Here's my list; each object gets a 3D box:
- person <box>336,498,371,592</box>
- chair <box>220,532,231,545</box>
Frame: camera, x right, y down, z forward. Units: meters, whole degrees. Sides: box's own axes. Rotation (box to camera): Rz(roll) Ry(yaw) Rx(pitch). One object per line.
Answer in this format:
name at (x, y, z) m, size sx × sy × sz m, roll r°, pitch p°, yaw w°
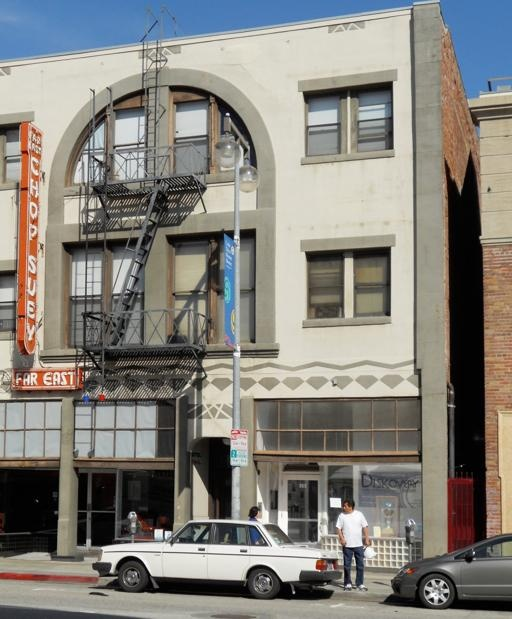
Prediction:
person at (1.961, 4.787, 31.014) m, size 0.637 × 1.814 × 0.641 m, roll -1°, pitch -9°, yaw 4°
chair at (-0.598, 4.478, 29.878) m, size 0.128 × 0.262 × 0.198 m, roll 5°, pitch -21°, yaw 6°
